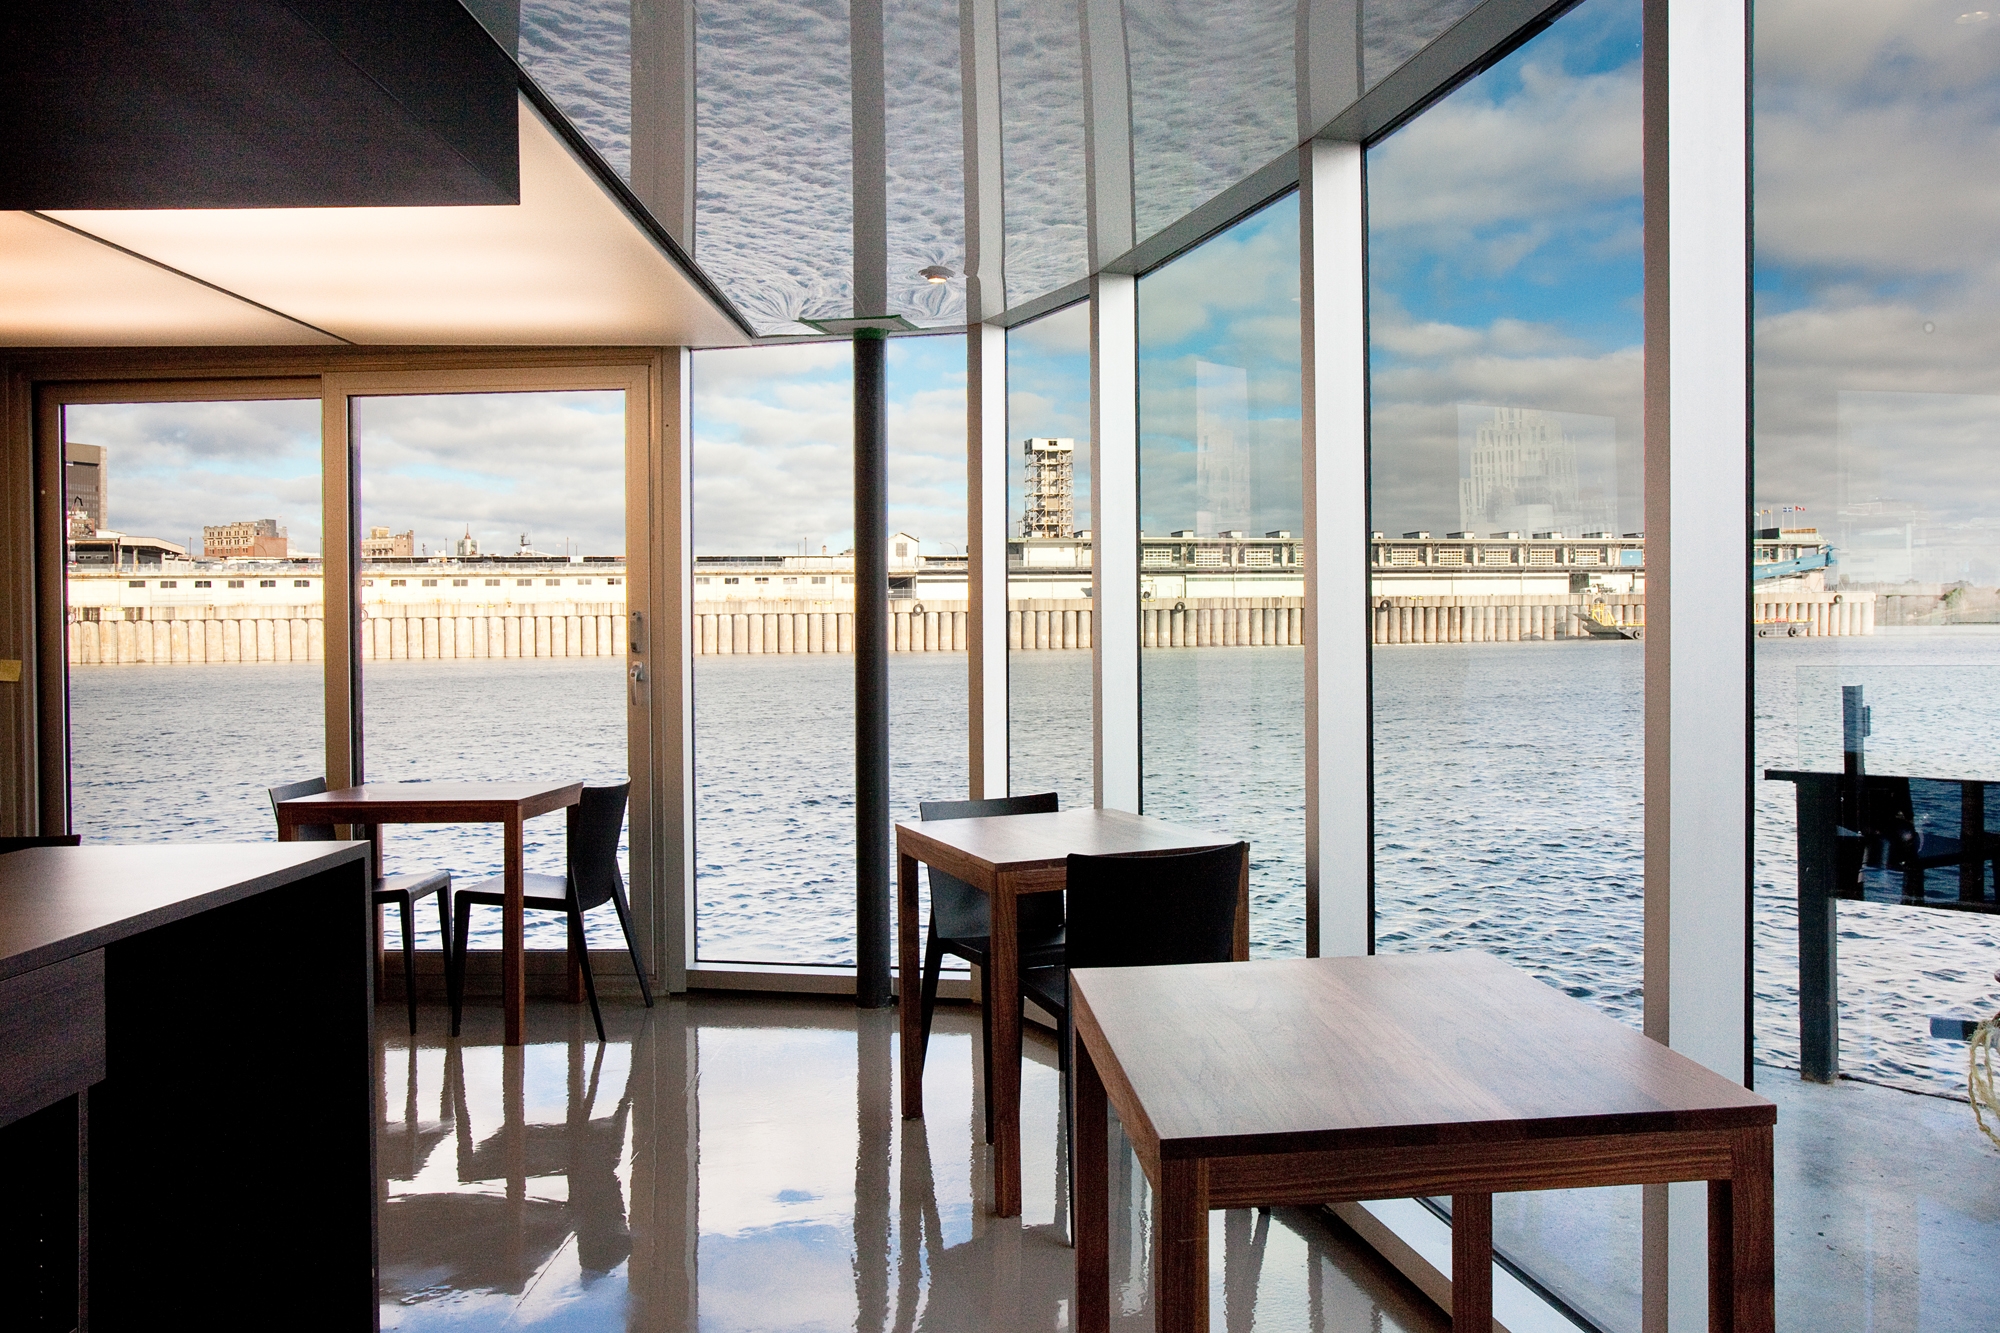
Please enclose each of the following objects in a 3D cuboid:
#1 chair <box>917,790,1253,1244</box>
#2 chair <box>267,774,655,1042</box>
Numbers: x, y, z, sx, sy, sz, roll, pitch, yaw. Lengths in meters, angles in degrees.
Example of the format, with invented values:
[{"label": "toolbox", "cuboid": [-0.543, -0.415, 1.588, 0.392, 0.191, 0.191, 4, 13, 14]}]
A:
[{"label": "chair", "cuboid": [0.019, 1.011, 5.233, 1.119, 1.108, 1.143, 0, 1, -27]}, {"label": "chair", "cuboid": [-2.159, 0.850, 6.295, 1.525, 0.933, 0.793, 2, -3, -1]}]
